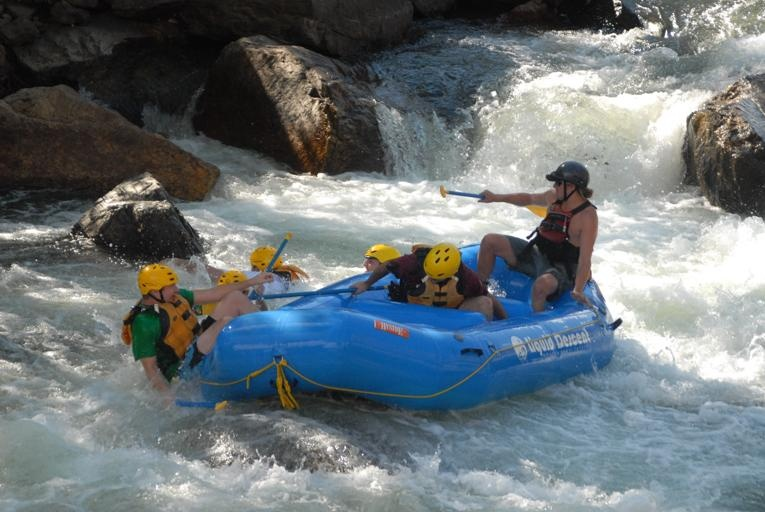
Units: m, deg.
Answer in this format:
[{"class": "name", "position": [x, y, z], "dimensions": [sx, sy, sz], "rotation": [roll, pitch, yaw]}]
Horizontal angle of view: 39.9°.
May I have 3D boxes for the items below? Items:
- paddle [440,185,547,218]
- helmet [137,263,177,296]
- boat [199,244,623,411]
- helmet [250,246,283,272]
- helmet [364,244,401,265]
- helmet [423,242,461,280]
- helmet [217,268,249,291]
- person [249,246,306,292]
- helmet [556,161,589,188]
[{"class": "paddle", "position": [1.614, -0.827, 16.169], "dimensions": [1.665, 0.351, 0.305], "rotation": [15, -22, -11]}, {"class": "helmet", "position": [-2.685, 0.269, 12.421], "dimensions": [0.434, 0.317, 0.318], "rotation": [-33, 7, 12]}, {"class": "boat", "position": [0.638, 1.043, 12.453], "dimensions": [3.376, 0.673, 2.089], "rotation": [-9, 17, -33]}, {"class": "helmet", "position": [-1.533, 0.018, 13.601], "dimensions": [0.405, 0.345, 0.298], "rotation": [13, 16, 22]}, {"class": "helmet", "position": [-0.005, -0.038, 13.304], "dimensions": [0.356, 0.191, 0.235], "rotation": [-7, 12, -11]}, {"class": "helmet", "position": [0.693, 0.084, 12.753], "dimensions": [0.376, 0.277, 0.480], "rotation": [15, 28, 19]}, {"class": "helmet", "position": [-1.859, 0.264, 12.937], "dimensions": [0.295, 0.199, 0.256], "rotation": [-6, -21, 5]}, {"class": "person", "position": [-1.383, 0.102, 13.644], "dimensions": [0.785, 0.384, 0.596], "rotation": [21, 9, 23]}, {"class": "helmet", "position": [2.390, -1.052, 13.349], "dimensions": [0.434, 0.293, 0.296], "rotation": [8, 13, -4]}]
